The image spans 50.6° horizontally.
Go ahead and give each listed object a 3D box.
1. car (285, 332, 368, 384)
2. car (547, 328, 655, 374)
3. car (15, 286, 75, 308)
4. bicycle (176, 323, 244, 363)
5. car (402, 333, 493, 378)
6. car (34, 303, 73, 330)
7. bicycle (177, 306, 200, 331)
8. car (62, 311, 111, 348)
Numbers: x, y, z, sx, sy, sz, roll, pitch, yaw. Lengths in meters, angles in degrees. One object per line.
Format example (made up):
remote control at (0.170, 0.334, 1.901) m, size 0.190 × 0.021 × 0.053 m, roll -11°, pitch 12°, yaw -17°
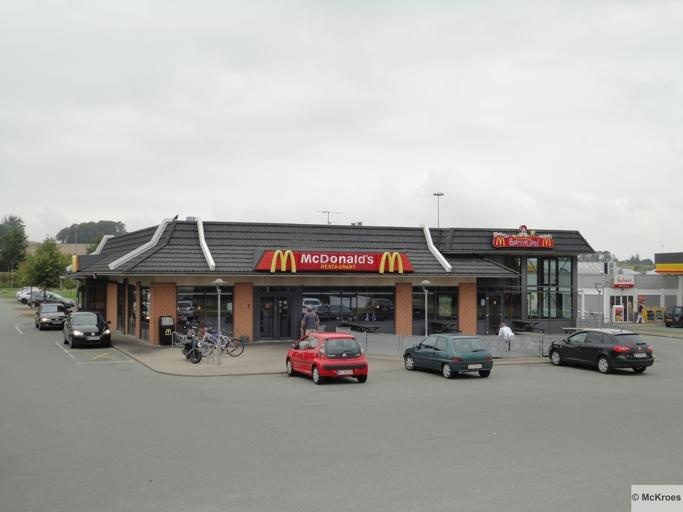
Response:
car at (-0.677, 3.338, 24.205) m, size 1.421 × 1.055 × 2.356 m, roll 1°, pitch 1°, yaw -24°
car at (9.911, 3.545, 27.546) m, size 1.630 × 1.217 × 3.412 m, roll 4°, pitch -1°, yaw -29°
car at (-28.825, 3.869, 69.284) m, size 4.044 × 1.380 × 1.825 m, roll -5°, pitch -4°, yaw 23°
bicycle at (-5.243, 3.576, 29.176) m, size 2.914 × 1.441 × 1.255 m, roll 5°, pitch -4°, yaw -19°
car at (3.719, 3.508, 25.764) m, size 1.412 × 1.013 × 2.568 m, roll 2°, pitch 1°, yaw -29°
car at (-17.552, 3.433, 43.380) m, size 1.728 × 1.352 × 3.874 m, roll 0°, pitch -6°, yaw -22°
bicycle at (-7.122, 2.810, 33.487) m, size 0.740 × 0.621 × 1.220 m, roll -1°, pitch 5°, yaw -1°
car at (-11.656, 3.382, 32.870) m, size 1.710 × 1.434 × 2.319 m, roll 0°, pitch 1°, yaw -30°
